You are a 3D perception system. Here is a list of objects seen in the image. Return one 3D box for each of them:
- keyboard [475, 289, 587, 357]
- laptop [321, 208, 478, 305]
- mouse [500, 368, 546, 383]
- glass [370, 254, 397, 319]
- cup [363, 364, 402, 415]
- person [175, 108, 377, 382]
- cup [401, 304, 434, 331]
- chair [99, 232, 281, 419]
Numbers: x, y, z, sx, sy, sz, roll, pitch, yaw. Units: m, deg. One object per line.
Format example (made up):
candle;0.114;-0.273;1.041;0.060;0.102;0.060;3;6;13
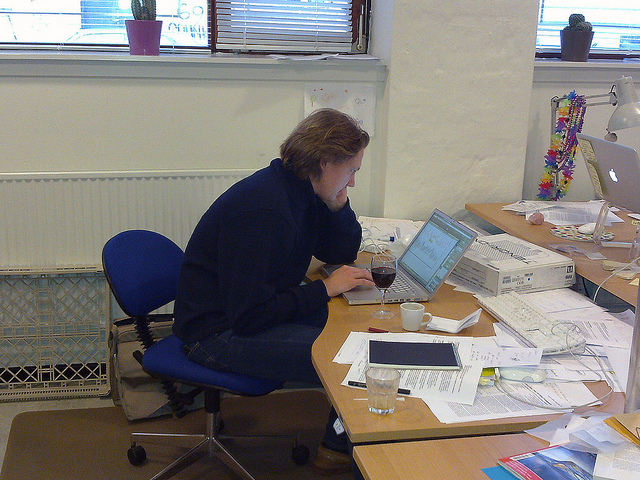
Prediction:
keyboard;0.720;0.287;1.864;0.140;0.047;0.336;-24;26;-6
laptop;0.340;0.086;2.173;0.416;0.254;0.423;1;14;-10
mouse;0.602;0.404;1.640;0.080;0.021;0.057;1;6;-9
glass;0.230;0.149;2.019;0.092;0.202;0.243;3;19;6
cup;0.157;0.416;1.526;0.111;0.119;0.113;0;4;0
person;-0.163;0.027;2.033;0.761;0.951;0.508;-4;20;-15
cup;0.325;0.262;1.889;0.113;0.071;0.077;5;11;20
chair;-0.523;0.419;2.352;0.782;0.785;0.565;5;12;13
